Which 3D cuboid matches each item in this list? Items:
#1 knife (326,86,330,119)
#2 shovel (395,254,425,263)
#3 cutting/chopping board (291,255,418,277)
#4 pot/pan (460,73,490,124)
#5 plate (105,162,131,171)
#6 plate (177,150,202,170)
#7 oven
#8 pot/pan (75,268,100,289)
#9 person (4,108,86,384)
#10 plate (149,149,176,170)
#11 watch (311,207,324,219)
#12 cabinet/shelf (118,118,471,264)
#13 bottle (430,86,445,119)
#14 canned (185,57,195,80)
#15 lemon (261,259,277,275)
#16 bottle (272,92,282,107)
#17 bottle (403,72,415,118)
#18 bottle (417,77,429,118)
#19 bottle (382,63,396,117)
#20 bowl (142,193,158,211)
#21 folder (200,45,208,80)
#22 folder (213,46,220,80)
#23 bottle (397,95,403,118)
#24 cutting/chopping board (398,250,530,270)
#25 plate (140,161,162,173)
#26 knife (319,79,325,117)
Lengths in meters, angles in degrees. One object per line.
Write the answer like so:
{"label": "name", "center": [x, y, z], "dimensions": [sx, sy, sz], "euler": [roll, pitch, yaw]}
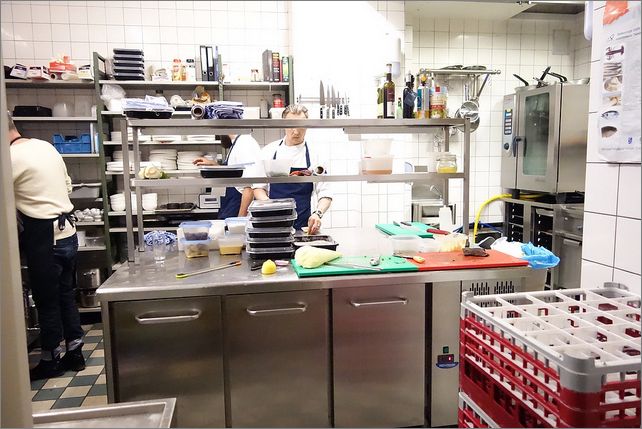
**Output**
{"label": "knife", "center": [0.062, -1.018, 4.506], "dimensions": [0.041, 0.345, 0.017], "euler": [0, 7, -7]}
{"label": "shovel", "center": [0.588, 0.281, 3.170], "dimensions": [0.050, 0.022, 0.194], "euler": [-7, 11, -36]}
{"label": "cutting/chopping board", "center": [0.196, 0.323, 3.083], "dimensions": [0.763, 0.063, 0.313], "euler": [-4, 10, -8]}
{"label": "pot/pan", "center": [1.940, -1.427, 6.075], "dimensions": [0.501, 0.597, 0.231], "euler": [-8, 11, -28]}
{"label": "plate", "center": [-1.916, -0.441, 4.538], "dimensions": [0.251, 0.093, 0.256], "euler": [0, 1, -24]}
{"label": "plate", "center": [-1.393, -0.554, 5.099], "dimensions": [0.212, 0.148, 0.210], "euler": [4, 6, 34]}
{"label": "oven", "center": [2.686, -0.880, 5.668], "dimensions": [0.671, 1.202, 1.359], "euler": [-1, 6, -2]}
{"label": "pot/pan", "center": [-2.393, 0.660, 4.970], "dimensions": [0.204, 0.173, 0.215], "euler": [2, -7, -29]}
{"label": "person", "center": [-2.287, 0.298, 4.004], "dimensions": [0.488, 2.064, 0.356], "euler": [-8, 12, -29]}
{"label": "plate", "center": [-1.654, -0.551, 5.041], "dimensions": [0.237, 0.166, 0.237], "euler": [3, 5, 37]}
{"label": "watch", "center": [-0.036, -0.002, 3.792], "dimensions": [0.086, 0.060, 0.093], "euler": [12, -7, -1]}
{"label": "cabinet/shelf", "center": [-0.187, -0.251, 3.564], "dimensions": [2.431, 0.950, 0.757], "euler": [-3, 10, -5]}
{"label": "bottle", "center": [0.808, -0.762, 3.350], "dimensions": [0.124, 0.212, 0.086], "euler": [-3, 10, -2]}
{"label": "canned", "center": [-1.392, -1.504, 5.100], "dimensions": [0.104, 0.229, 0.148], "euler": [-5, 10, -14]}
{"label": "lemon", "center": [-0.329, 0.330, 3.032], "dimensions": [0.083, 0.058, 0.080], "euler": [0, 0, -12]}
{"label": "bottle", "center": [-0.483, -1.239, 5.353], "dimensions": [0.145, 0.176, 0.180], "euler": [-1, 1, -2]}
{"label": "bottle", "center": [0.616, -0.822, 3.422], "dimensions": [0.092, 0.299, 0.140], "euler": [-1, 10, 10]}
{"label": "bottle", "center": [0.700, -0.769, 3.357], "dimensions": [0.086, 0.218, 0.075], "euler": [1, 11, 21]}
{"label": "bottle", "center": [0.470, -0.847, 3.388], "dimensions": [0.077, 0.362, 0.226], "euler": [-1, 10, 10]}
{"label": "bowl", "center": [-1.782, -0.119, 5.075], "dimensions": [0.167, 0.174, 0.172], "euler": [-1, 6, 0]}
{"label": "folder", "center": [-1.239, -1.551, 5.051], "dimensions": [0.110, 0.335, 0.049], "euler": [4, 12, 34]}
{"label": "folder", "center": [-1.107, -1.555, 5.067], "dimensions": [0.071, 0.258, 0.282], "euler": [4, 0, -10]}
{"label": "bottle", "center": [0.560, -0.756, 3.482], "dimensions": [0.050, 0.136, 0.150], "euler": [-1, 10, 10]}
{"label": "cutting/chopping board", "center": [0.925, 0.299, 3.171], "dimensions": [0.751, 0.071, 0.315], "euler": [-4, 10, -10]}
{"label": "plate", "center": [-1.468, -0.403, 4.158], "dimensions": [0.262, 0.082, 0.254], "euler": [-1, 3, 2]}
{"label": "knife", "center": [0.006, -1.048, 4.459], "dimensions": [0.039, 0.337, 0.028], "euler": [1, -1, -2]}
